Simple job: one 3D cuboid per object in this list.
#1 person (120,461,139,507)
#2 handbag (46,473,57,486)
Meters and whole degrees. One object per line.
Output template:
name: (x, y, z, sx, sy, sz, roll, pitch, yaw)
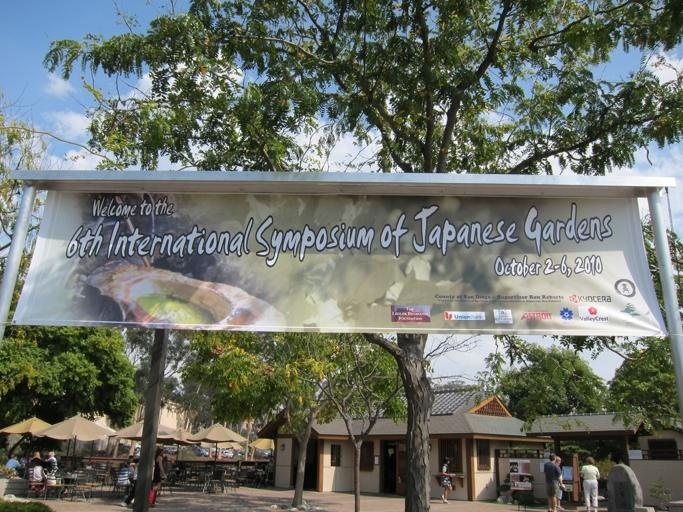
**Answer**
person: (-8.246, 9.006, 21.747, 0.307, 1.248, 2.787, 7, -15, -19)
handbag: (-11.102, 8.605, 21.240, 0.359, 0.370, 1.282, 9, -16, -25)
